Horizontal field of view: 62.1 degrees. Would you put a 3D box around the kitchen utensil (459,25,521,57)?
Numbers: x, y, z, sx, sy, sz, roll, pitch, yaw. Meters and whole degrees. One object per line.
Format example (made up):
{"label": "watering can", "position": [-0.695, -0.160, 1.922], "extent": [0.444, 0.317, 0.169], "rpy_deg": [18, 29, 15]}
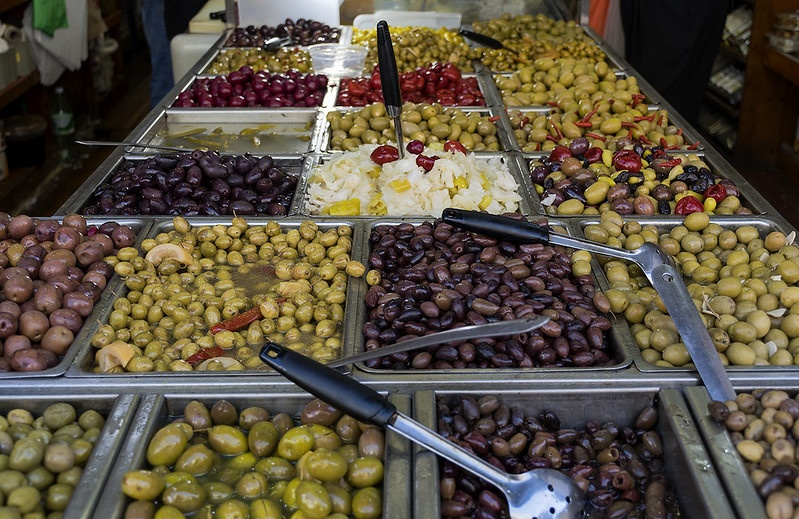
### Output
{"label": "kitchen utensil", "position": [0.588, -1.535, 4.668], "extent": [0.087, 0.127, 0.770], "rpy_deg": [-3, 26, -36]}

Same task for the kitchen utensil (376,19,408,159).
{"label": "kitchen utensil", "position": [-0.046, -0.769, 2.893], "extent": [0.095, 0.651, 0.097], "rpy_deg": [3, 16, 32]}
